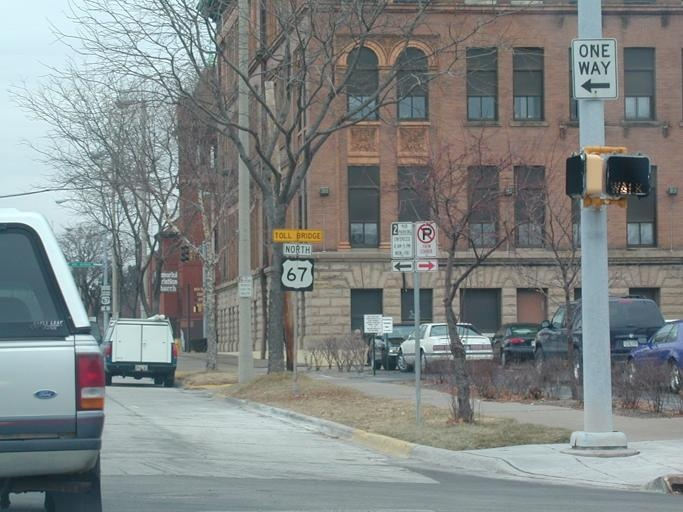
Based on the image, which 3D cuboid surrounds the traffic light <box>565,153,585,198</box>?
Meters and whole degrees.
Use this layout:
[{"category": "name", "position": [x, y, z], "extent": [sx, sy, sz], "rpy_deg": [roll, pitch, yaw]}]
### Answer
[{"category": "traffic light", "position": [4.342, -1.504, 27.249], "extent": [0.107, 0.786, 0.463], "rpy_deg": [1, -5, -35]}]

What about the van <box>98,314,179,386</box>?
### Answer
[{"category": "van", "position": [-6.004, 2.818, 43.929], "extent": [2.069, 2.153, 1.532], "rpy_deg": [-1, -4, -11]}]

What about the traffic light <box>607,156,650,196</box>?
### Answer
[{"category": "traffic light", "position": [5.267, -1.496, 27.083], "extent": [0.680, 0.643, 0.252], "rpy_deg": [1, -2, -4]}]

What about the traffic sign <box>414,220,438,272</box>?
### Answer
[{"category": "traffic sign", "position": [1.759, -0.195, 30.547], "extent": [0.458, 1.007, 0.393], "rpy_deg": [-3, -4, 8]}]

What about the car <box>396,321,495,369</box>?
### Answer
[{"category": "car", "position": [3.002, 2.394, 44.179], "extent": [2.458, 1.701, 3.607], "rpy_deg": [5, -5, -10]}]

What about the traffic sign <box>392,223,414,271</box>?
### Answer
[{"category": "traffic sign", "position": [1.305, -0.216, 30.822], "extent": [0.497, 1.051, 0.569], "rpy_deg": [-2, -4, 1]}]

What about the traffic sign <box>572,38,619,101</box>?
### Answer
[{"category": "traffic sign", "position": [4.711, -3.472, 27.352], "extent": [0.797, 1.102, 0.185], "rpy_deg": [-2, -4, 1]}]
